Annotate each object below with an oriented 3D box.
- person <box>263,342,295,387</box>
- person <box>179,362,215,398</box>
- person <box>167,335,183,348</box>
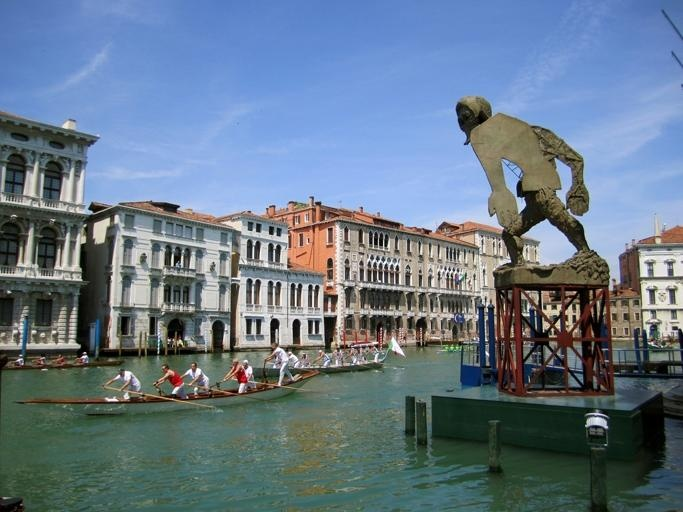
[{"bbox_3d":[-2.973,4.989,26.774,1.426,1.874,0.940,-1,-9,-39],"label":"person"},{"bbox_3d":[-6.320,5.283,24.605,1.404,1.404,0.963,-4,0,-26],"label":"person"},{"bbox_3d":[-15.352,7.982,53.503,1.720,0.822,1.014,-5,-5,33],"label":"person"}]
